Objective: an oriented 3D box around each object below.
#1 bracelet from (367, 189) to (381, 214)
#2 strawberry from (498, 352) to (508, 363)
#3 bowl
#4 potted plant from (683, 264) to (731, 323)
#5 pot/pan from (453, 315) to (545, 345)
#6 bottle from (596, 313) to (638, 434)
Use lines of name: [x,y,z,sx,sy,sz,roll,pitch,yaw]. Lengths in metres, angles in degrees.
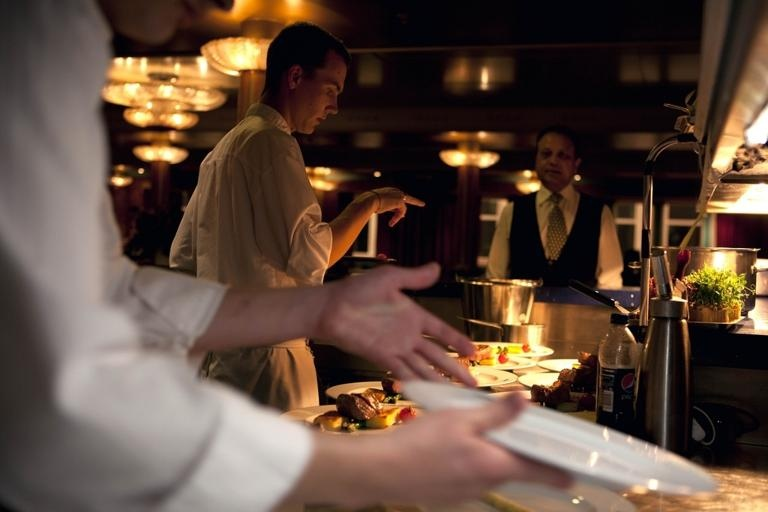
bracelet: [-0.025,-0.179,2.602,0.018,0.062,0.064,-4,14,-15]
strawberry: [0.377,0.324,2.390,0.027,0.029,0.027,-2,0,7]
bowl: [0.386,0.165,2.784,0.214,0.135,0.211,2,0,0]
potted plant: [0.789,0.094,1.944,0.143,0.125,0.131,0,-8,1]
pot/pan: [0.426,0.263,2.718,0.210,0.076,0.112,-1,0,18]
bottle: [0.505,0.250,1.639,0.101,0.251,0.081,-4,-3,14]
